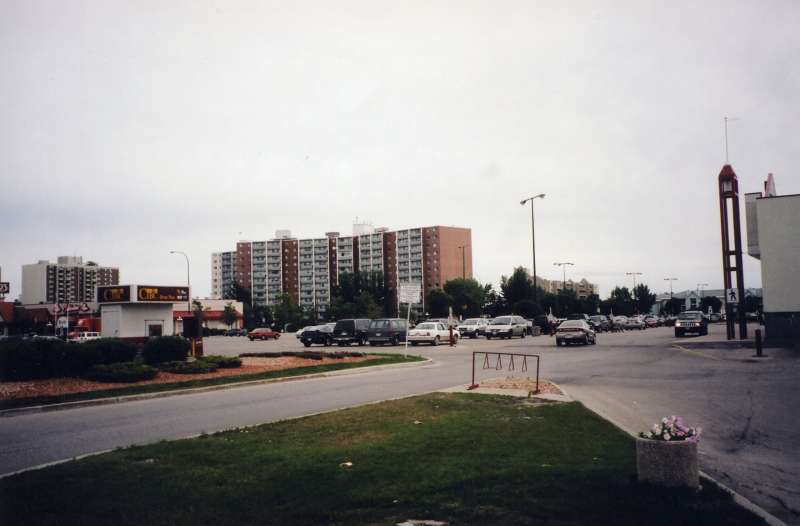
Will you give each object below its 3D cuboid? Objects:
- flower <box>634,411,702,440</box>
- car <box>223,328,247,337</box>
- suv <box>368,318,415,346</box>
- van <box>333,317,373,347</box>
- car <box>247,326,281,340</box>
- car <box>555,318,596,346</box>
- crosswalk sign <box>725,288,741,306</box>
[{"bbox_3d":[5.084,3.135,14.105,1.045,0.420,0.603,-5,-6,19],"label":"flower"},{"bbox_3d":[-22.964,9.834,103.892,2.641,0.939,1.880,1,-5,5],"label":"car"},{"bbox_3d":[-0.626,4.595,49.547,1.456,1.244,2.786,-2,1,32],"label":"suv"},{"bbox_3d":[-3.006,4.598,49.881,1.437,1.239,2.624,-2,2,27],"label":"van"},{"bbox_3d":[-13.213,6.872,71.182,2.404,0.980,1.711,-4,-6,11],"label":"car"},{"bbox_3d":[10.868,4.358,46.283,1.970,1.553,2.954,-8,-7,43],"label":"car"},{"bbox_3d":[19.120,1.925,42.789,0.689,0.892,1.504,-5,-6,24],"label":"crosswalk sign"}]
